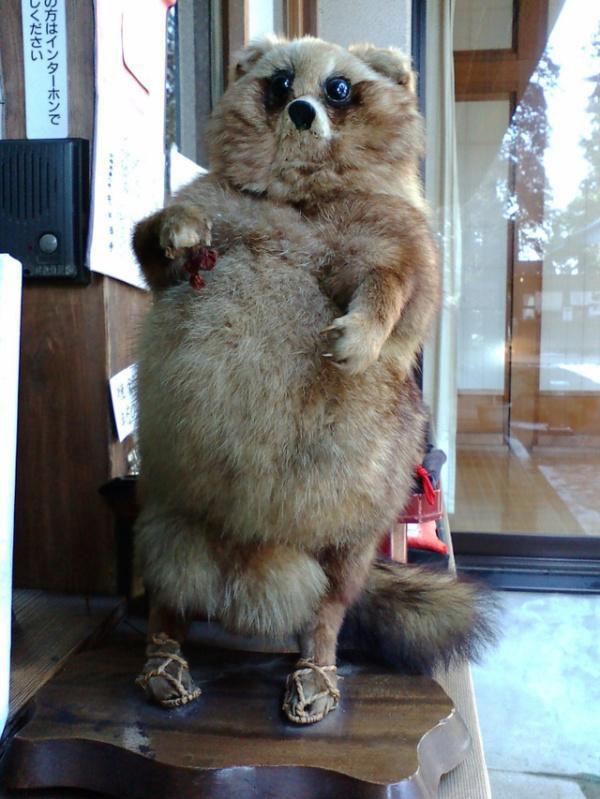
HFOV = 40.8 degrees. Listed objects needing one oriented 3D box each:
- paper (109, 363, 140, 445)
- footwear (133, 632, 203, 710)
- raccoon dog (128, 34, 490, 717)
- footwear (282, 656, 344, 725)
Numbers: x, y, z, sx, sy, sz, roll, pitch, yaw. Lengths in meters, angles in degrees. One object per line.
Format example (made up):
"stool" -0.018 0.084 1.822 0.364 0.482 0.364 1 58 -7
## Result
"paper" -0.269 -0.003 1.251 0.010 0.100 0.112 -2 2 -26
"footwear" -0.164 0.321 0.971 0.075 0.031 0.101 -1 37 -18
"raccoon dog" -0.019 -0.066 1.032 0.353 0.804 0.470 6 16 20
"footwear" 0.014 0.335 0.963 0.070 0.033 0.107 12 28 14
